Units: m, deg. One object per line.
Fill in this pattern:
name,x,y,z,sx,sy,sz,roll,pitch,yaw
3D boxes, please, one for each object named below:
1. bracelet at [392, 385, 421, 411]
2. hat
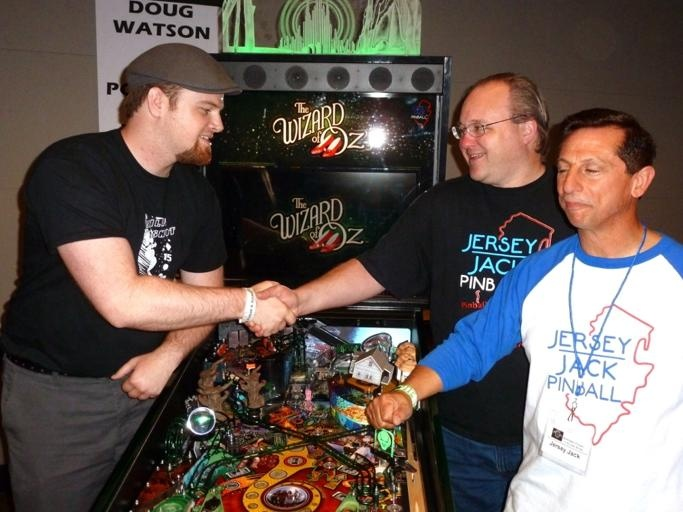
bracelet,0.224,0.485,1.931,0.032,0.079,0.076,-31,51,-7
hat,-0.637,-0.732,2.188,0.352,0.130,0.242,1,29,-2
